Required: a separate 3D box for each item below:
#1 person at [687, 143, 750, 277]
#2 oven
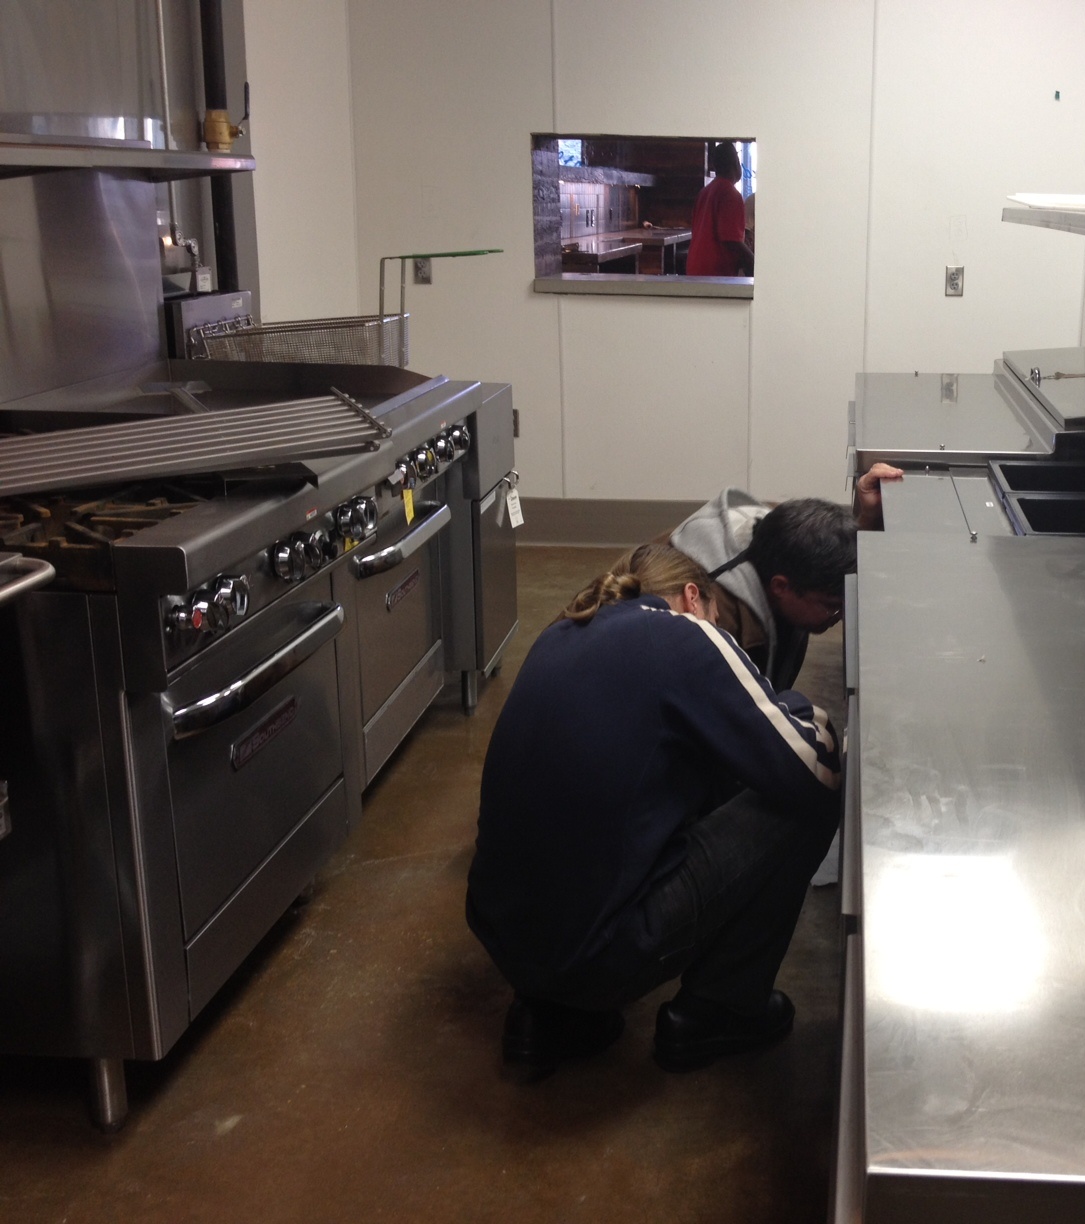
[{"bbox_3d":[0.857,-1.802,4.608,0.204,0.828,0.304,-3,32,3],"label":"person"},{"bbox_3d":[-0.467,0.320,1.781,0.288,0.499,0.868,-3,15,7],"label":"oven"}]
